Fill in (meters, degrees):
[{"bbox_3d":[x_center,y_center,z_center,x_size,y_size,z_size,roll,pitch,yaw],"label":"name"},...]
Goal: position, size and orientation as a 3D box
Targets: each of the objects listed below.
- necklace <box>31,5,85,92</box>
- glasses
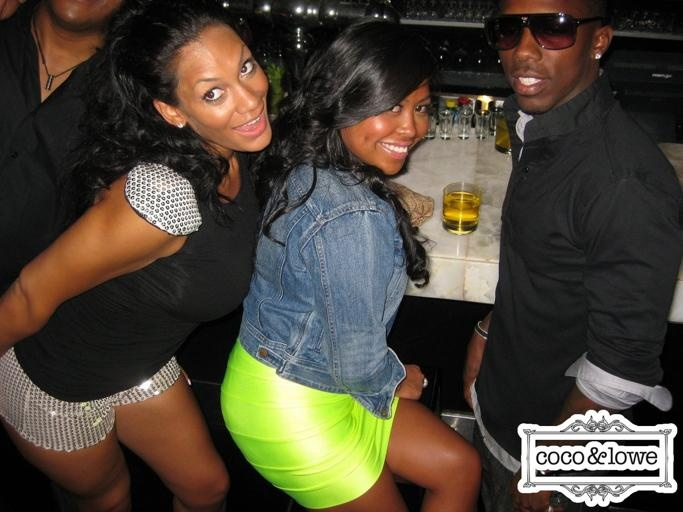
[{"bbox_3d":[-1.143,-0.800,2.031,0.255,0.250,0.045,20,0,-23],"label":"necklace"},{"bbox_3d":[0.565,-0.647,1.463,0.329,0.119,0.181,2,22,26],"label":"glasses"}]
